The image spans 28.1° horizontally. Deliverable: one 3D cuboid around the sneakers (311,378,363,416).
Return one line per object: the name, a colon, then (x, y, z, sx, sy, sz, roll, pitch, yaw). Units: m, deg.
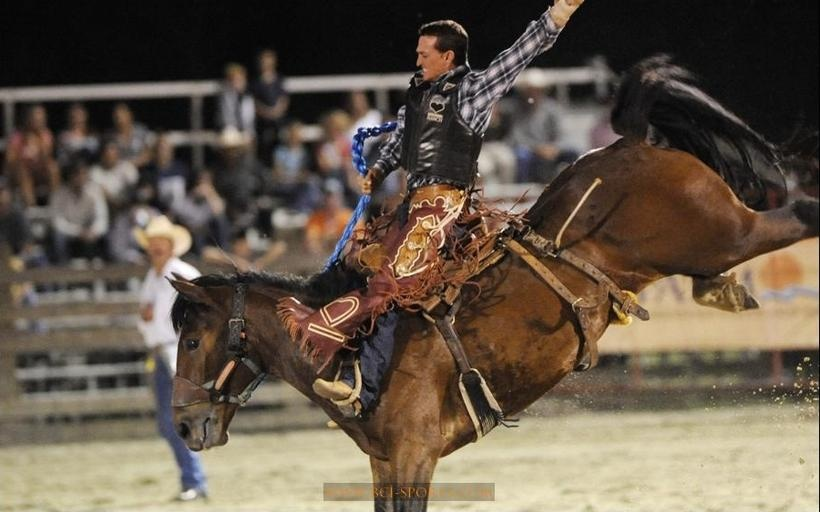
sneakers: (-0.668, 1.351, 15.568, 0.517, 0.271, 0.208, 25, 43, -2)

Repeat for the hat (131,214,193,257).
hat: (-2.738, -0.231, 18.431, 0.635, 0.589, 0.169, -6, 50, -5)
